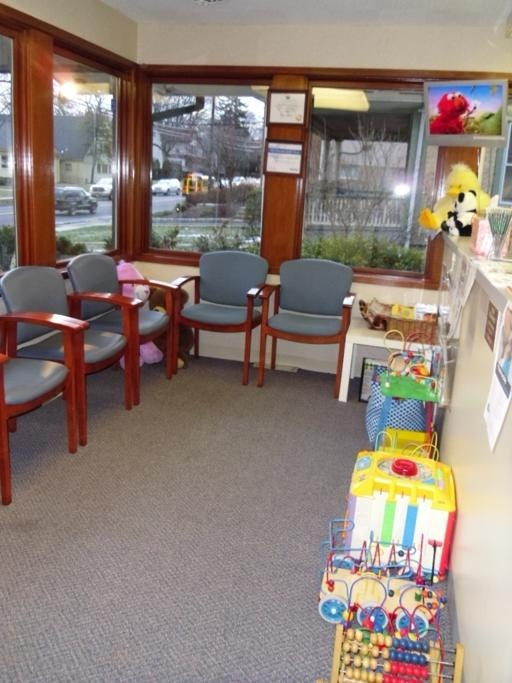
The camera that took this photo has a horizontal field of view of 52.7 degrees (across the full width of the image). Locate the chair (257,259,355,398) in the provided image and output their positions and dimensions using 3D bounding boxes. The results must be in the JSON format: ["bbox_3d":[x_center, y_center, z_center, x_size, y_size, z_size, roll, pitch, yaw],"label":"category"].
[{"bbox_3d":[0.375,-0.152,4.005,0.673,0.950,0.800,4,13,5],"label":"chair"}]

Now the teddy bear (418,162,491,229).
[{"bbox_3d":[1.119,-0.800,2.911,0.367,0.372,0.295,6,33,34],"label":"teddy bear"}]

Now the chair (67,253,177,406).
[{"bbox_3d":[-0.921,-0.135,3.548,0.584,0.877,0.675,9,18,22],"label":"chair"}]

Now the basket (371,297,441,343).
[{"bbox_3d":[1.068,-0.163,3.678,0.389,0.207,0.514,4,11,17],"label":"basket"}]

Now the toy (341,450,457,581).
[{"bbox_3d":[0.521,0.591,1.975,0.386,0.373,0.386,5,11,13],"label":"toy"}]

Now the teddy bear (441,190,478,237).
[{"bbox_3d":[1.037,-0.654,2.641,0.174,0.230,0.247,8,13,20],"label":"teddy bear"}]

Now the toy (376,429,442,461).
[{"bbox_3d":[0.703,0.457,2.386,0.269,0.184,0.197,2,6,21],"label":"toy"}]

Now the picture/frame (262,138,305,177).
[{"bbox_3d":[0.233,-1.459,4.089,0.306,0.254,0.026,6,14,15],"label":"picture/frame"}]

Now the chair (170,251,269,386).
[{"bbox_3d":[-0.271,-0.205,4.093,0.680,0.926,0.558,8,15,15],"label":"chair"}]

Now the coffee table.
[{"bbox_3d":[0.835,0.118,3.615,0.565,0.541,0.558,11,20,0],"label":"coffee table"}]

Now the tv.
[{"bbox_3d":[1.072,-1.166,2.630,0.430,0.316,0.044,12,36,28],"label":"tv"}]
